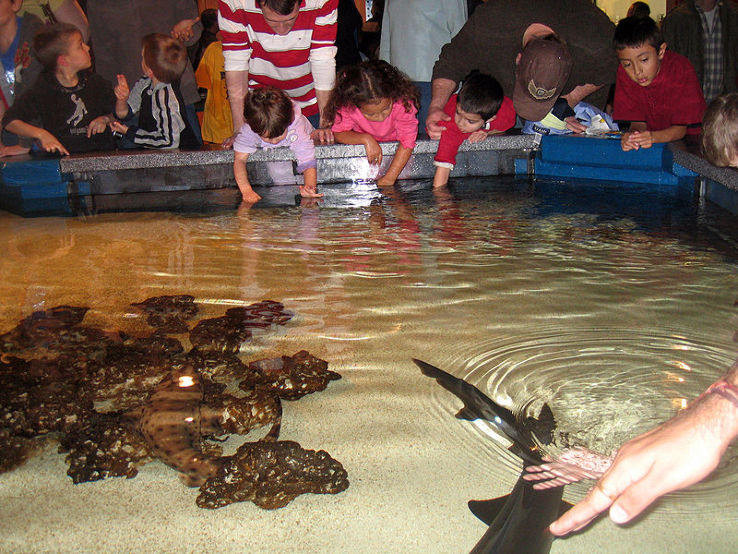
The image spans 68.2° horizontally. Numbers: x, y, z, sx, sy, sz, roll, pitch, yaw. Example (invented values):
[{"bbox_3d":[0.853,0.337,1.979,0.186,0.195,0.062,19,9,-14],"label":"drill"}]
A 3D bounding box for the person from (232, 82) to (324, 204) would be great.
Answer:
[{"bbox_3d":[-0.714,-1.113,4.234,0.758,0.576,0.937,-5,58,-5],"label":"person"}]

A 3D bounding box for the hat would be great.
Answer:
[{"bbox_3d":[1.390,-1.617,4.405,0.385,0.671,0.423,-2,19,-2],"label":"hat"}]
